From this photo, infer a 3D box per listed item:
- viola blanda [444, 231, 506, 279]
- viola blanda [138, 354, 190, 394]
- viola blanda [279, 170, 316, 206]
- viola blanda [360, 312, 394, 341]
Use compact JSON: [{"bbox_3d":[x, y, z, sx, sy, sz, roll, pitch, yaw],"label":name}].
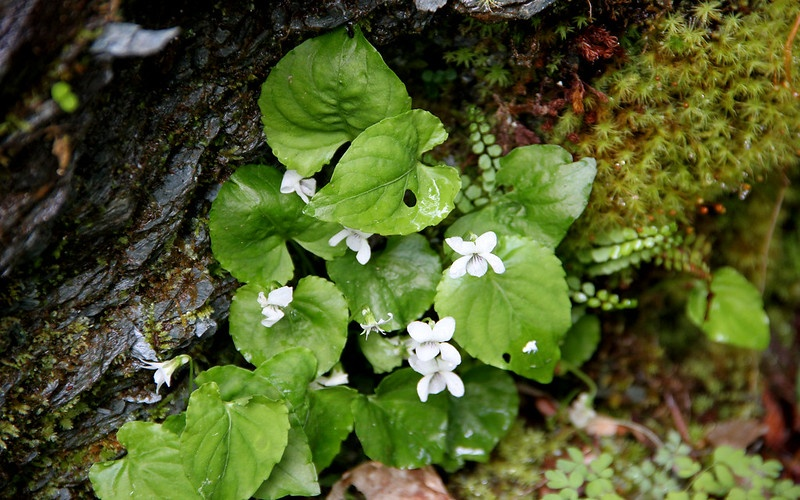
[{"bbox_3d":[0.390,0.016,3.867,0.284,0.220,0.169,-13,40,15],"label":"viola blanda"},{"bbox_3d":[-1.327,0.649,4.052,0.181,0.196,0.277,-15,-3,40],"label":"viola blanda"},{"bbox_3d":[-0.590,-0.353,4.089,0.186,0.195,0.079,-12,6,-22],"label":"viola blanda"},{"bbox_3d":[-0.145,0.440,4.216,0.174,0.170,0.129,-59,18,29],"label":"viola blanda"}]
